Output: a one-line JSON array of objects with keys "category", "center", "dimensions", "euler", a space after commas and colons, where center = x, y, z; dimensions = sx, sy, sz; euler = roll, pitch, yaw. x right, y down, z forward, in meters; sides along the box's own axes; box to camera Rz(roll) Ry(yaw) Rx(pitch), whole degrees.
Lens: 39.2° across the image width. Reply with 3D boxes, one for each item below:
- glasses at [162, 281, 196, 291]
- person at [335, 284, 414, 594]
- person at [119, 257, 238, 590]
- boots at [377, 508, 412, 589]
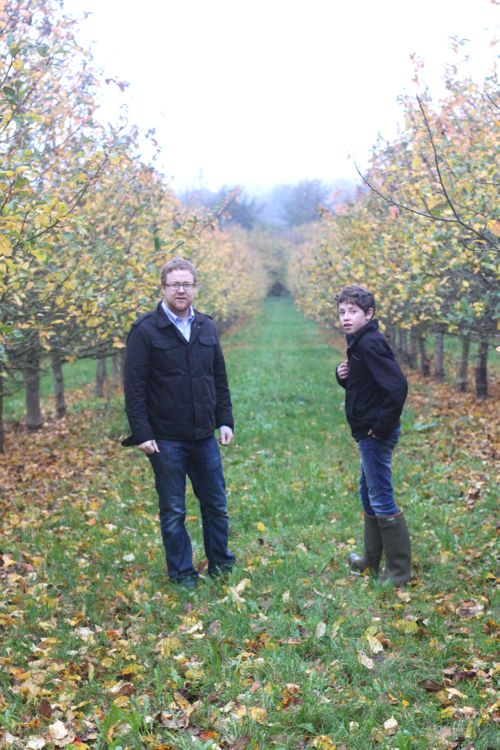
[{"category": "glasses", "center": [-0.568, -0.682, 5.536], "dimensions": [0.258, 0.114, 0.175], "euler": [-3, 3, -8]}, {"category": "person", "center": [1.003, 0.476, 5.683], "dimensions": [0.435, 2.389, 0.704], "euler": [-4, 4, -15]}, {"category": "person", "center": [-0.585, 0.381, 5.682], "dimensions": [0.431, 2.598, 1.023], "euler": [0, 5, 40]}, {"category": "boots", "center": [1.144, 1.394, 5.640], "dimensions": [0.243, 0.554, 0.271], "euler": [-3, 3, 8]}]
